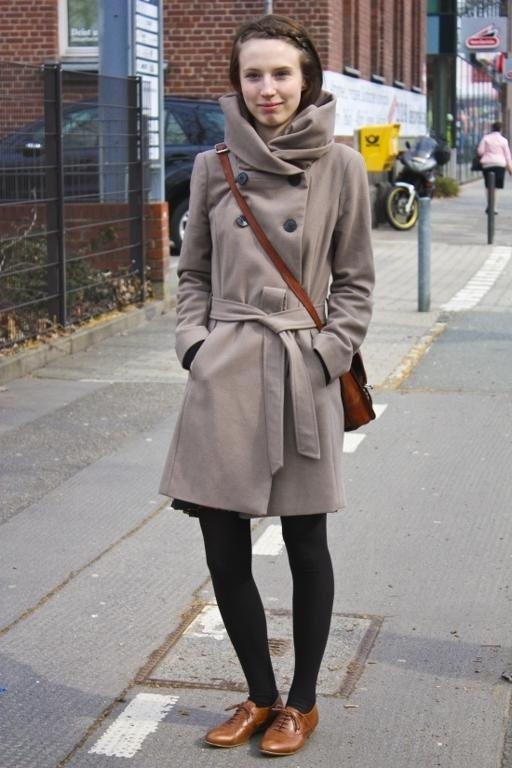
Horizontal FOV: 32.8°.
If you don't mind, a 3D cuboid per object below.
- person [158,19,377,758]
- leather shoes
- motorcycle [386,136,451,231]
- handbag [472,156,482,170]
[{"bbox_3d":[0.030,0.024,2.078,0.490,1.757,0.449,1,11,6],"label":"person"},{"bbox_3d":[0.041,0.816,2.106,0.137,0.057,0.180,-4,-6,35],"label":"leather shoes"},{"bbox_3d":[3.368,-4.280,18.603,1.186,2.002,1.849,2,11,11],"label":"motorcycle"},{"bbox_3d":[5.365,-5.375,21.322,0.235,0.344,1.052,2,11,13],"label":"handbag"}]
